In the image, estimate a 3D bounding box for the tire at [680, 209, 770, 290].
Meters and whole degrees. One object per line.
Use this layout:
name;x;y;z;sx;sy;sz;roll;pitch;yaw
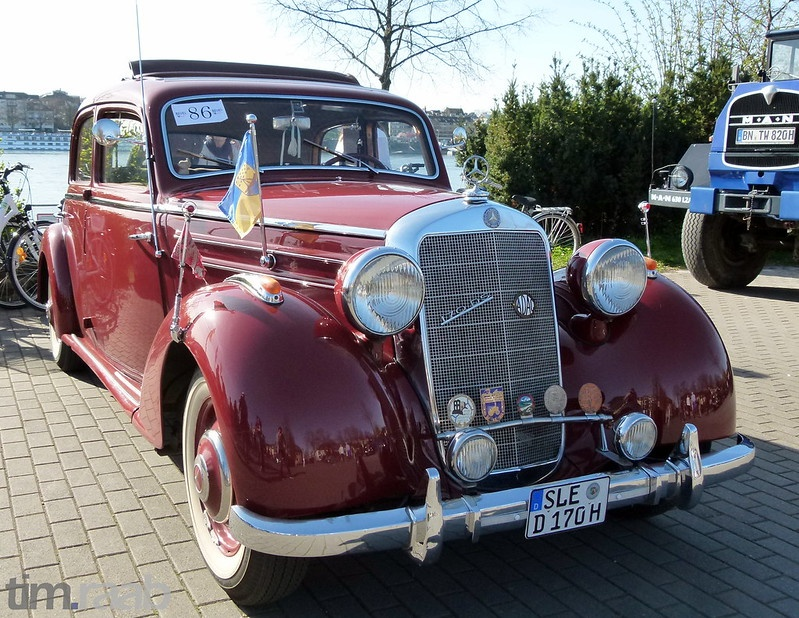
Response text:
tire;4.897;-0.907;8.684;1.159;1.440;0.447;-2;6;-28

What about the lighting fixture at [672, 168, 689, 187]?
lighting fixture;4.473;-2.065;9.183;0.256;0.341;0.107;3;5;43

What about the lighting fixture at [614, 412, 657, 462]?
lighting fixture;1.061;0.567;2.618;0.201;0.258;0.119;0;4;-29

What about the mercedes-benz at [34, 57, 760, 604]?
mercedes-benz;-0.688;-0.077;3.949;2.314;2.205;4.375;-3;11;-31

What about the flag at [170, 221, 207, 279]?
flag;-1.131;-0.345;3.131;0.168;0.406;0.056;14;46;-11

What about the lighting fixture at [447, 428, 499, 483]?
lighting fixture;0.297;0.594;2.397;0.185;0.217;0.076;-11;8;-21

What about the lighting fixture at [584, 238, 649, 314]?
lighting fixture;1.067;-0.150;2.866;0.308;0.404;0.140;-1;6;-25

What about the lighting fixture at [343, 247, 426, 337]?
lighting fixture;-0.056;-0.098;2.452;0.350;0.427;0.215;-3;18;-14
